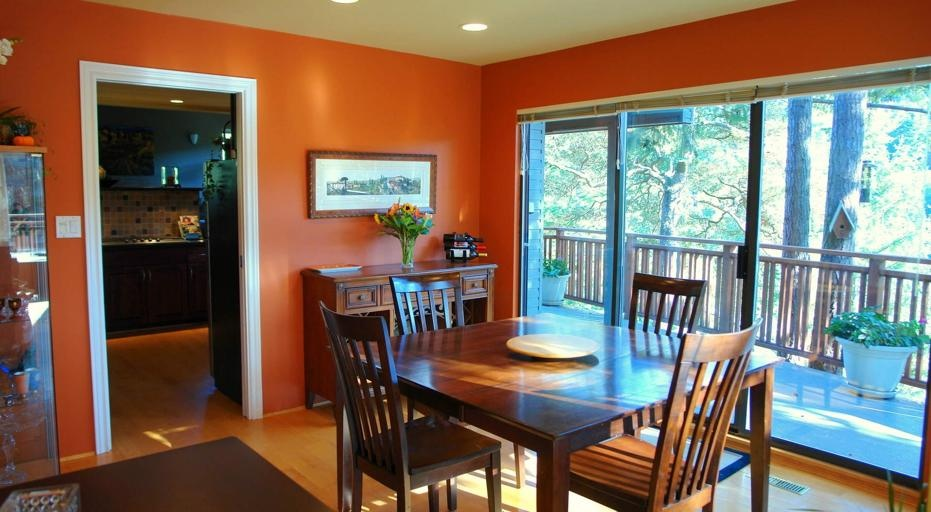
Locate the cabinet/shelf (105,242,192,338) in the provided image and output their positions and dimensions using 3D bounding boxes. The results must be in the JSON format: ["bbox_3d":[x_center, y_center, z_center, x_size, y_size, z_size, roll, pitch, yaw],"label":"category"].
[{"bbox_3d":[-4.153,0.432,8.204,1.315,1.043,0.731,-3,9,-30],"label":"cabinet/shelf"}]

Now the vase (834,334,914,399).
[{"bbox_3d":[3.499,0.964,5.371,0.670,0.468,0.636,10,-4,-14],"label":"vase"}]

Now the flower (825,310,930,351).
[{"bbox_3d":[3.357,0.606,5.142,0.412,0.143,0.383,14,-7,-23],"label":"flower"}]

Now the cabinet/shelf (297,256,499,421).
[{"bbox_3d":[-0.627,0.804,6.667,2.057,1.271,0.741,-3,3,-43],"label":"cabinet/shelf"}]

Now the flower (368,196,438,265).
[{"bbox_3d":[-0.644,-0.187,6.529,0.727,0.589,0.654,-8,-4,-13],"label":"flower"}]

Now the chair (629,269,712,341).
[{"bbox_3d":[1.763,0.413,5.409,0.500,0.744,0.579,12,15,32],"label":"chair"}]

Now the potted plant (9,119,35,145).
[{"bbox_3d":[-3.495,-0.981,5.001,0.152,0.206,0.215,-5,9,-29],"label":"potted plant"}]

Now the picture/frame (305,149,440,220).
[{"bbox_3d":[-0.933,-0.745,6.474,1.491,0.641,0.061,-5,11,-37],"label":"picture/frame"}]
